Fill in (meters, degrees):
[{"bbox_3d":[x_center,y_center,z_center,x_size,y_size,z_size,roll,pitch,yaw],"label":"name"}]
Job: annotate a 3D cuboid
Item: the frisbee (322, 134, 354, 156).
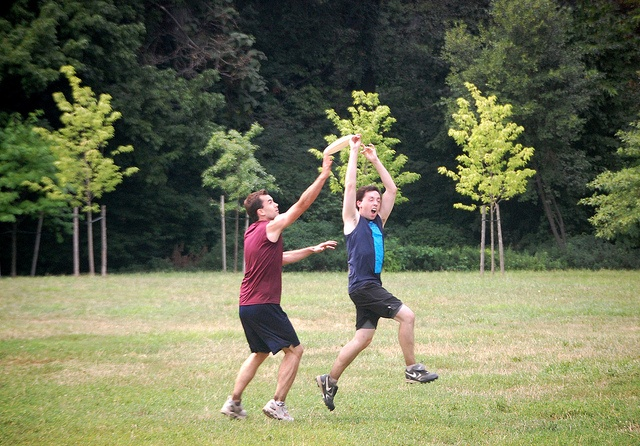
[{"bbox_3d":[0.512,-2.027,20.272,0.627,0.164,0.654,-31,-8,24],"label":"frisbee"}]
